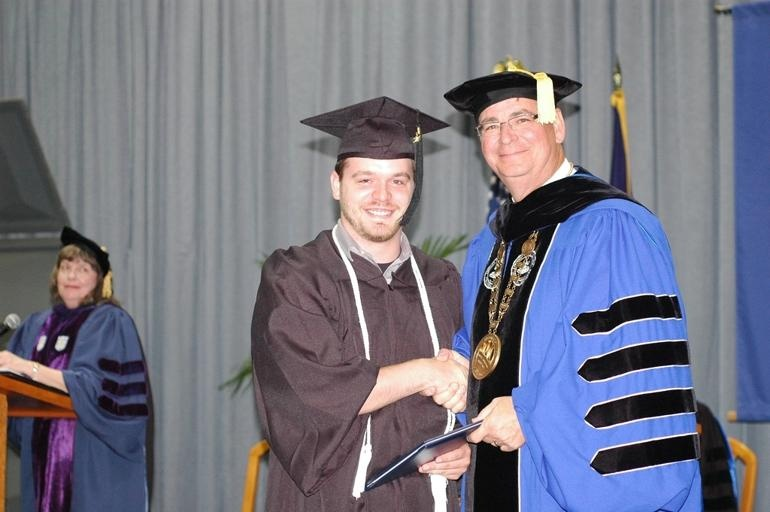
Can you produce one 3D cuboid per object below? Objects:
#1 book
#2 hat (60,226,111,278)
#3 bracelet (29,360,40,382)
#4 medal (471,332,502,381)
[{"bbox_3d":[0.329,1.697,11.694,1.019,0.535,0.382,-3,-4,-3],"label":"book"},{"bbox_3d":[-3.147,0.007,14.117,0.511,0.181,0.624,20,-36,-25],"label":"hat"},{"bbox_3d":[-3.408,1.114,13.432,0.114,0.175,0.187,-1,5,-6],"label":"bracelet"},{"bbox_3d":[0.901,0.873,11.934,0.068,0.478,0.432,21,-11,-37],"label":"medal"}]
